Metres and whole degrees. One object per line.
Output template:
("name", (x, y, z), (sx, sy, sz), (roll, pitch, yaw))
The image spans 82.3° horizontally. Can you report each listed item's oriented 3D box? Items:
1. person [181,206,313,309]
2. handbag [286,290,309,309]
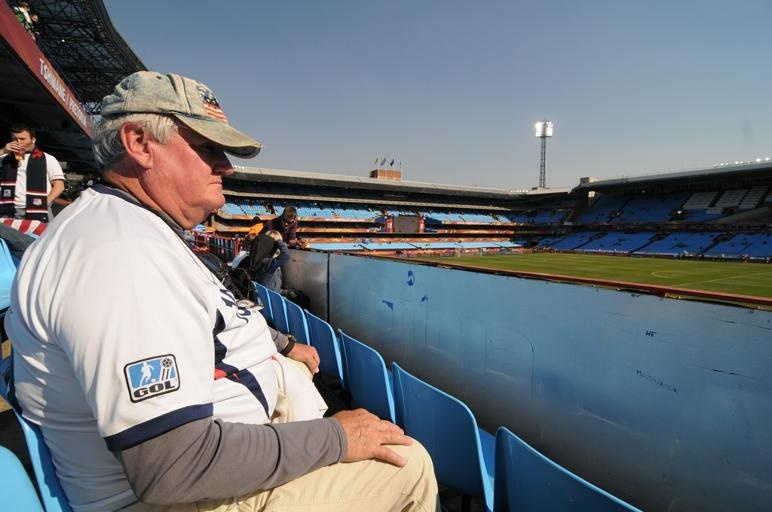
("person", (-1.829, -0.051, 6.415), (1.493, 0.717, 2.077), (4, 9, -29))
("handbag", (-1.182, 0.572, 5.692), (0.298, 0.265, 0.215), (-1, -1, 38))
